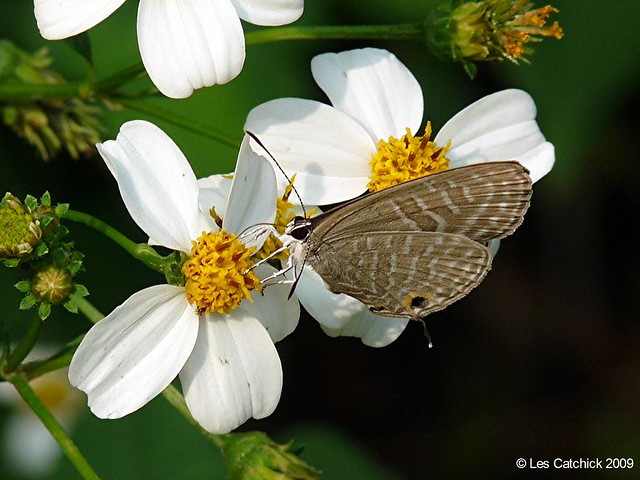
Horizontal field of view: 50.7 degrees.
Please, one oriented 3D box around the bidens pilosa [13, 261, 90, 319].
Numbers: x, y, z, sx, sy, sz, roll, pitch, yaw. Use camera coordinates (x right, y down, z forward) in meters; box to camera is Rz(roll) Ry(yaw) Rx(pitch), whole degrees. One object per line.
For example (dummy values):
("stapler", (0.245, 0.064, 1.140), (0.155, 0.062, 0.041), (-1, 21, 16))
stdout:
("bidens pilosa", (-0.806, 0.145, 2.043), (0.200, 0.078, 0.226), (-7, 52, -21))
